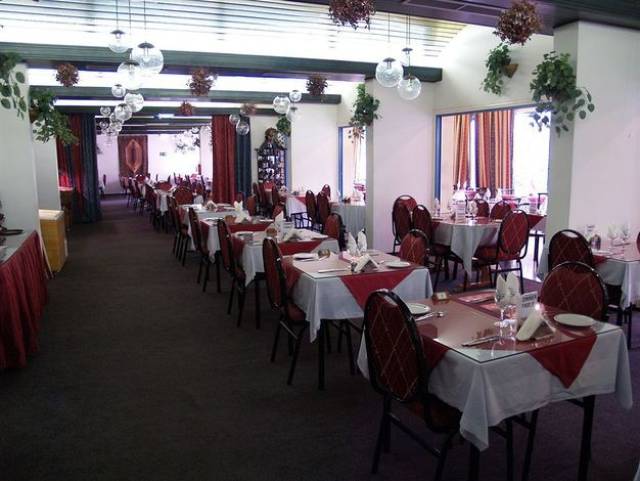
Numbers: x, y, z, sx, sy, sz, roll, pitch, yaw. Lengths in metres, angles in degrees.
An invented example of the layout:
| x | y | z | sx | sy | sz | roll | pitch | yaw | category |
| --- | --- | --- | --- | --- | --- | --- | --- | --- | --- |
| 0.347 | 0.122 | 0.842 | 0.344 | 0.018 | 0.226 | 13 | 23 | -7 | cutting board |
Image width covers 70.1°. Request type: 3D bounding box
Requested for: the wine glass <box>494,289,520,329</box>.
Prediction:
| x | y | z | sx | sy | sz | roll | pitch | yaw | category |
| --- | --- | --- | --- | --- | --- | --- | --- | --- | --- |
| 1.051 | 0.370 | 2.560 | 0.112 | 0.220 | 0.288 | 7 | 1 | 24 | wine glass |

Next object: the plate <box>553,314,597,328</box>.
| x | y | z | sx | sy | sz | roll | pitch | yaw | category |
| --- | --- | --- | --- | --- | --- | --- | --- | --- | --- |
| 1.407 | 0.441 | 2.515 | 0.191 | 0.081 | 0.185 | 10 | 2 | 44 | plate |
